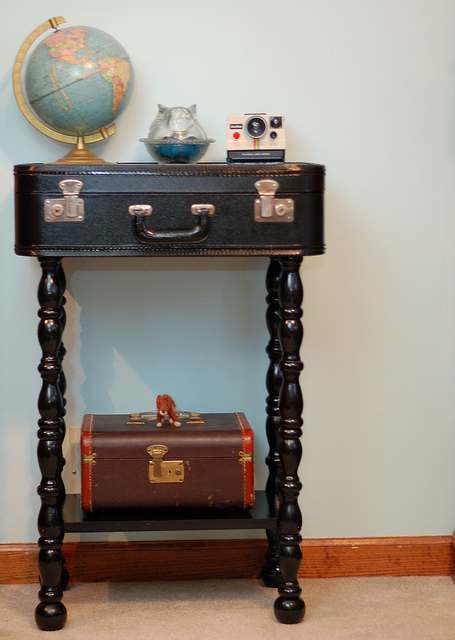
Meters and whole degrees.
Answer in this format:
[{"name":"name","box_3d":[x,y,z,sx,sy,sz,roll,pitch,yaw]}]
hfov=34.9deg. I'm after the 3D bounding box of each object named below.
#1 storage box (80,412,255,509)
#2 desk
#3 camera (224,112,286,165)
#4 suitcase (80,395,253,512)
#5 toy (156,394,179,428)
[{"name":"storage box","box_3d":[-0.155,0.343,1.972,0.552,0.192,0.406,0,4,-5]},{"name":"desk","box_3d":[-0.107,0.177,1.738,0.714,1.110,0.461,-2,13,7]},{"name":"camera","box_3d":[0.062,-0.410,1.631,0.186,0.139,0.103,-1,3,-1]},{"name":"suitcase","box_3d":[-0.162,0.336,1.973,0.560,0.194,0.411,0,3,-5]},{"name":"toy","box_3d":[-0.140,0.217,1.792,0.052,0.058,0.080,-3,-18,0]}]
